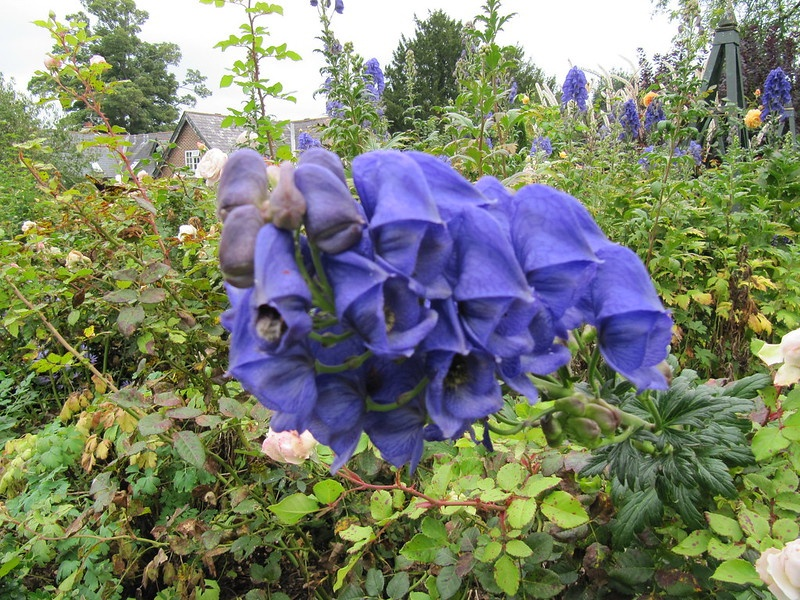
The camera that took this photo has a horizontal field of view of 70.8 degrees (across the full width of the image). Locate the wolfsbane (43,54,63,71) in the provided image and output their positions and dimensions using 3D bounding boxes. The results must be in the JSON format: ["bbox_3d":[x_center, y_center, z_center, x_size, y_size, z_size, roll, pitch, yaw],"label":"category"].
[{"bbox_3d":[-2.136,-1.463,3.483,0.094,0.084,0.149,-7,11,-30],"label":"wolfsbane"}]

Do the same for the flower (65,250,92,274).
[{"bbox_3d":[-1.951,-0.237,3.424,0.130,0.126,0.203,-9,12,-36],"label":"flower"}]
